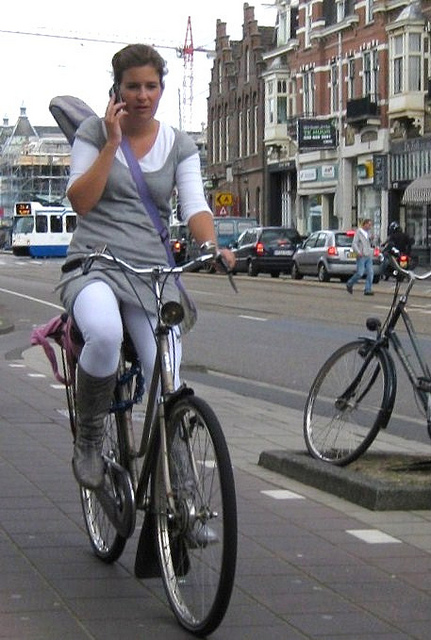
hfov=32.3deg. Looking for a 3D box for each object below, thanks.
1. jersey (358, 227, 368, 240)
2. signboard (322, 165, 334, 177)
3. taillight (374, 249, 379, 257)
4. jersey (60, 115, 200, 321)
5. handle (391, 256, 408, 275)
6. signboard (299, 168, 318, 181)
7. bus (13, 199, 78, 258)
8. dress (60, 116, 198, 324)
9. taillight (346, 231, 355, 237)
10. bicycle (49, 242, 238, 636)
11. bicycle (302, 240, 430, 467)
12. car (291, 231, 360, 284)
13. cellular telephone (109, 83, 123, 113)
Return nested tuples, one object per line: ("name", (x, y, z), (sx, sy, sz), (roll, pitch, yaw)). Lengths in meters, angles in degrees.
("jersey", (4.744, -2.817, 23.934), (0.158, 0.340, 0.494), (4, 6, 42))
("signboard", (7.037, -9.355, 46.308), (0.083, 0.843, 0.818), (6, -5, -40))
("taillight", (5.756, -2.427, 26.610), (0.145, 0.268, 0.508), (1, 5, 15))
("jersey", (-0.288, -0.357, 2.456), (0.415, 0.714, 0.361), (8, -2, -44))
("handle", (1.052, -0.324, 4.248), (0.022, 0.085, 0.080), (-31, -18, 38))
("signboard", (6.091, -9.513, 48.319), (0.115, 0.767, 2.097), (-2, 6, -24))
("bus", (-12.533, -7.164, 57.620), (2.612, 4.268, 7.879), (6, 9, 24))
("dress", (-0.295, -0.279, 2.384), (0.348, 0.745, 0.446), (-8, 11, -30))
("taillight", (4.971, -3.205, 27.415), (0.250, 0.213, 0.390), (1, 5, 10))
("bicycle", (-0.197, 0.431, 2.170), (0.385, 0.903, 1.257), (5, -3, -16))
("bicycle", (0.871, 0.313, 4.312), (0.511, 0.991, 0.798), (-2, 5, -28))
("car", (4.302, -2.471, 28.196), (1.316, 1.401, 2.590), (-2, 7, -19))
("cellular telephone", (-0.312, -0.706, 2.308), (0.031, 0.067, 0.110), (-1, 5, -13))
